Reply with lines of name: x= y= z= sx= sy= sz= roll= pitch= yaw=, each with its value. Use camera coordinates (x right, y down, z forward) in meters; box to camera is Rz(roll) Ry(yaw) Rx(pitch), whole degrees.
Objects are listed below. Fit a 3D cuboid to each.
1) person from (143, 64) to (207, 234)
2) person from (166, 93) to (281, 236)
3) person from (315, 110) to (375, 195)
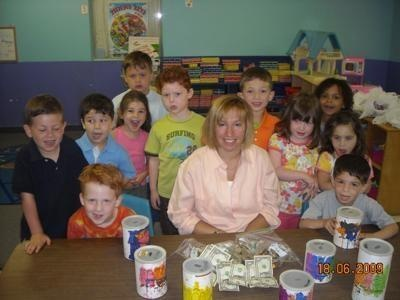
person: x=-0.140 y=0.218 z=2.722 sx=0.546 sy=1.710 sz=0.499 roll=-5 pitch=15 yaw=-12
person: x=0.157 y=0.137 z=1.968 sx=0.725 sy=0.846 sz=0.483 roll=-4 pitch=17 yaw=-7
person: x=1.100 y=0.197 z=2.588 sx=0.387 sy=0.920 sz=0.309 roll=3 pitch=14 yaw=27
